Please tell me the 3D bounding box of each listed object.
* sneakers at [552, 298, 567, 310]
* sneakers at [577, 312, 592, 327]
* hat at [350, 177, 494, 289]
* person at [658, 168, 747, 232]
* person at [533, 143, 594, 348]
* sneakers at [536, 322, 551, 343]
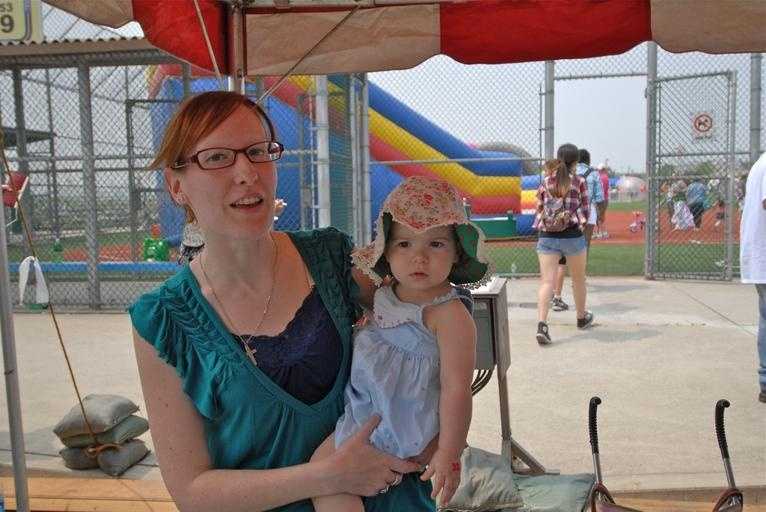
[{"bbox_3d":[2.539,0.685,12.971,0.102,0.145,0.303,1,7,26],"label":"sneakers"},{"bbox_3d":[2.701,0.830,11.957,0.106,0.141,0.298,13,40,35],"label":"sneakers"},{"bbox_3d":[0.333,-0.122,6.523,0.824,0.568,0.780,1,-7,-4],"label":"hat"},{"bbox_3d":[5.198,-0.851,15.036,0.926,0.844,1.000,-1,7,18],"label":"person"},{"bbox_3d":[2.228,-0.177,11.428,0.872,2.447,0.762,-4,7,-10],"label":"person"},{"bbox_3d":[2.012,0.940,11.307,0.177,0.281,0.398,-2,7,10],"label":"sneakers"}]
